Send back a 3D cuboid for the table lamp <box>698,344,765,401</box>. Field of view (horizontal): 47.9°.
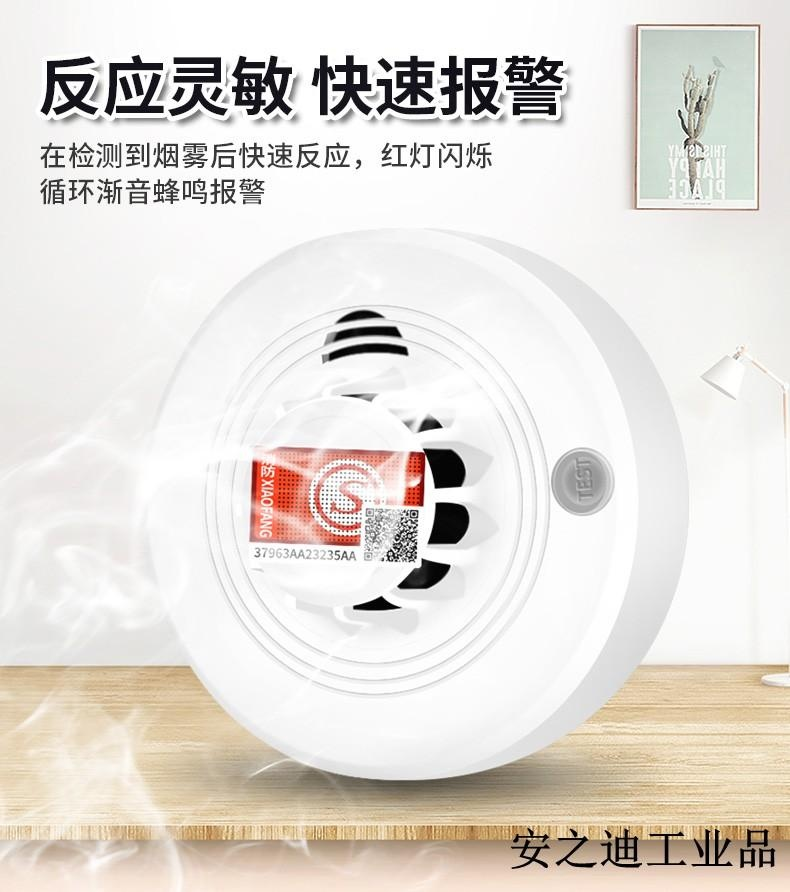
[{"bbox_3d":[0.676,-0.152,1.798,0.100,0.123,0.223,-1,-4,22],"label":"table lamp"}]
